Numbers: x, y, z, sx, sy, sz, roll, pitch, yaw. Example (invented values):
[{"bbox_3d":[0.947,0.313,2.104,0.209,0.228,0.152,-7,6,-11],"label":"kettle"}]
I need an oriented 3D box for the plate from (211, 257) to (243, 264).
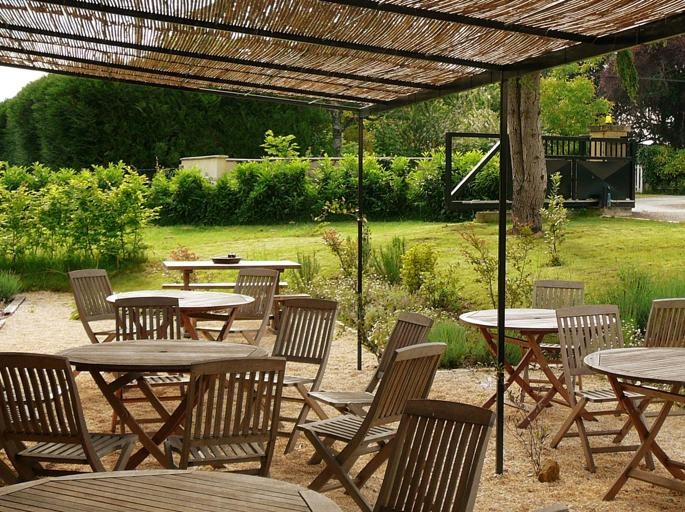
[{"bbox_3d":[-1.983,0.083,11.900,0.465,0.128,0.255,0,-1,-16],"label":"plate"}]

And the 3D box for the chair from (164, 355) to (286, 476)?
[{"bbox_3d":[-0.780,1.122,4.900,0.697,0.851,0.558,0,-1,-14],"label":"chair"}]

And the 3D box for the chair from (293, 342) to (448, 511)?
[{"bbox_3d":[0.302,1.233,5.966,1.282,1.815,1.063,3,0,30],"label":"chair"}]
